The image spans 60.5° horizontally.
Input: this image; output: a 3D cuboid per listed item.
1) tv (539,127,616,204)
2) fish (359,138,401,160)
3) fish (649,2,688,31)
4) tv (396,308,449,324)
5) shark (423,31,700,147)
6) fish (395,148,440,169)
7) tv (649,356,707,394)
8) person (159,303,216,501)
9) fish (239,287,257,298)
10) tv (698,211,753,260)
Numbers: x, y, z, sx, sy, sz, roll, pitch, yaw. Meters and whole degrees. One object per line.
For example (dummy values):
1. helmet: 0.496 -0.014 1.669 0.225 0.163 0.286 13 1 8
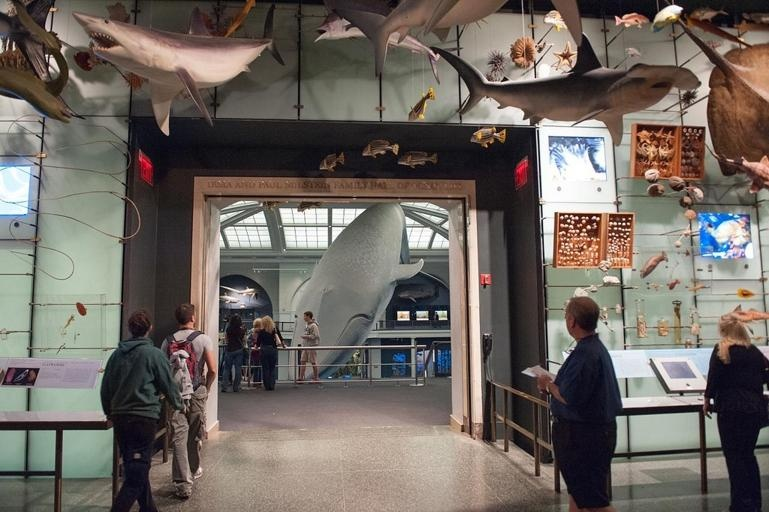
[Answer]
1. tv: 2.937 -1.340 10.132 1.194 1.128 0.113 1 -10 -6
2. fish: -0.111 -1.752 10.729 0.704 0.345 0.163 0 -40 12
3. fish: 3.514 -3.006 8.251 0.285 0.310 0.482 -2 -5 17
4. tv: 1.842 2.990 32.958 2.763 0.570 0.306 2 -6 -21
5. shark: 2.029 -2.010 7.591 2.838 1.223 1.134 4 -1 35
6. fish: 0.540 -1.651 10.991 0.683 0.328 0.599 0 -5 0
7. tv: 3.836 1.546 8.586 0.526 0.551 0.145 2 -42 -16
8. person: -2.665 1.892 8.947 0.688 2.460 0.902 0 1 24
9. fish: -6.266 1.685 30.323 0.574 0.394 1.328 -4 2 6
10. tv: 5.291 -0.318 10.296 0.393 0.727 0.850 8 -1 -32
